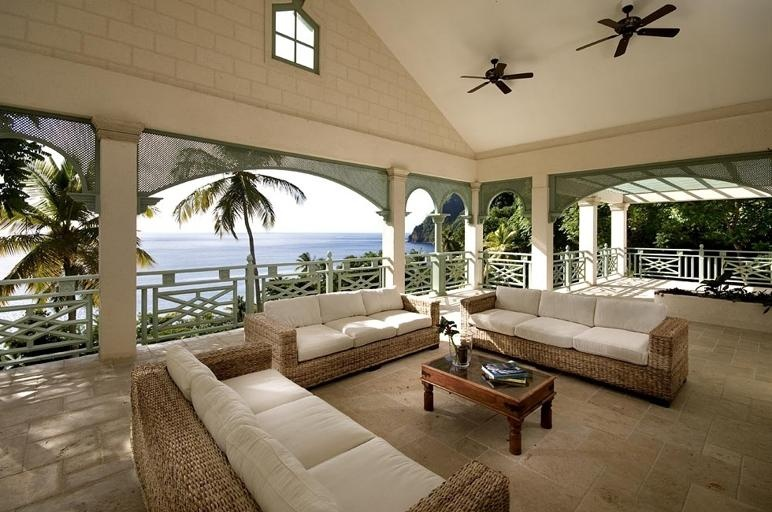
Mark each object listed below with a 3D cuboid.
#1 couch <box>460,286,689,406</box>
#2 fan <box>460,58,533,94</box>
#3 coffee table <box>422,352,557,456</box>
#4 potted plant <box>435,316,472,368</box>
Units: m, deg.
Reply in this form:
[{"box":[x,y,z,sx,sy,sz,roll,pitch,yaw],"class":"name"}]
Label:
[{"box":[2.552,1.084,6.509,1.069,1.173,3.049,-4,6,-41],"class":"couch"},{"box":[1.985,-3.353,7.939,1.246,0.440,1.224,0,-2,17],"class":"fan"},{"box":[1.316,1.383,5.061,0.926,0.592,1.301,-6,7,-43],"class":"coffee table"},{"box":[0.879,1.053,5.423,0.307,0.558,0.403,-20,-12,20],"class":"potted plant"}]
